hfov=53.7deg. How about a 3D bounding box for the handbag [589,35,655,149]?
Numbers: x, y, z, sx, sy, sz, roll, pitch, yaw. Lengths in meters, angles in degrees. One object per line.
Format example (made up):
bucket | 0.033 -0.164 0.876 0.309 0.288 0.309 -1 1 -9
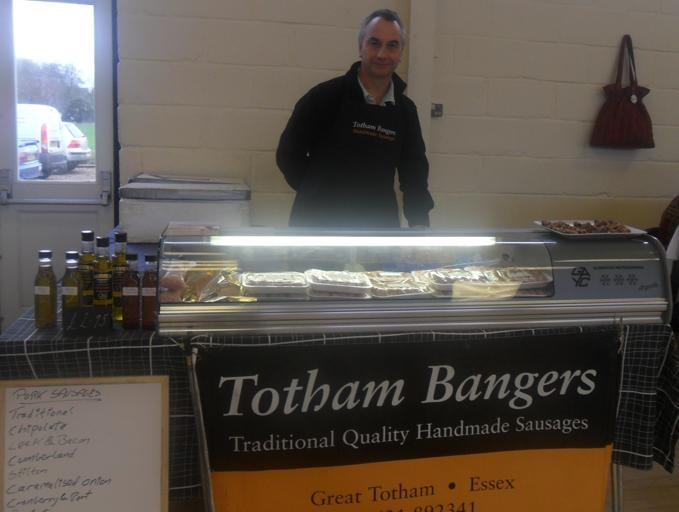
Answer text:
handbag | 1.846 -1.062 4.334 0.381 0.720 0.172 0 1 -12
